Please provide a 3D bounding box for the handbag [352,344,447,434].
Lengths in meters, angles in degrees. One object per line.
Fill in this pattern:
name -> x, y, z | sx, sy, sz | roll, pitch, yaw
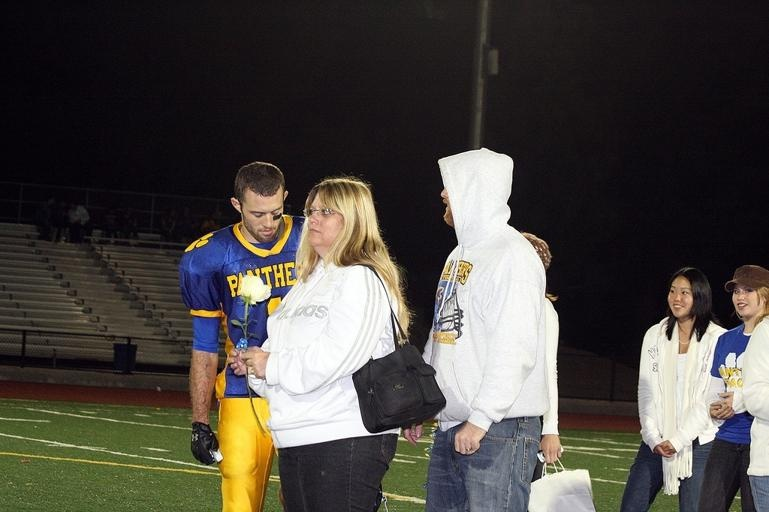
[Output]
handbag -> 0.067, 0.722, 3.306 | 0.398, 0.524, 0.297 | -16, -25, -17
